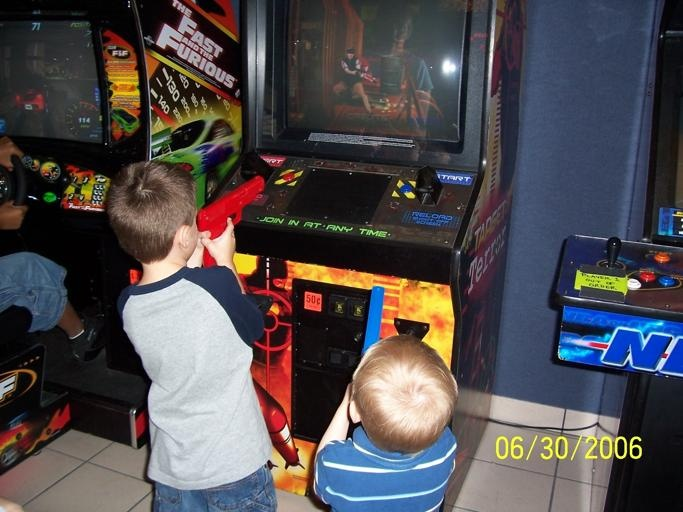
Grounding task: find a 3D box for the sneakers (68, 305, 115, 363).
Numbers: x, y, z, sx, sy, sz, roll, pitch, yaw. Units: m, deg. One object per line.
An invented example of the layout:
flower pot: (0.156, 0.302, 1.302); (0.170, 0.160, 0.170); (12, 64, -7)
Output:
sneakers: (-1.439, 0.469, 2.950); (0.116, 0.186, 0.278); (-7, 10, 0)
